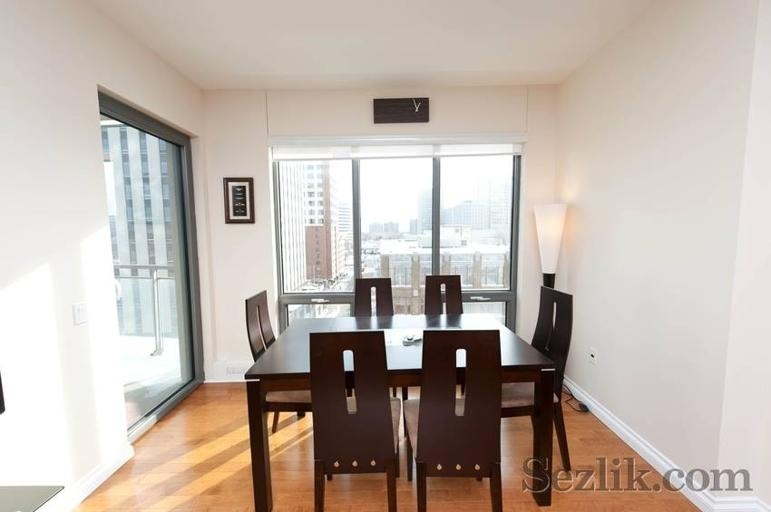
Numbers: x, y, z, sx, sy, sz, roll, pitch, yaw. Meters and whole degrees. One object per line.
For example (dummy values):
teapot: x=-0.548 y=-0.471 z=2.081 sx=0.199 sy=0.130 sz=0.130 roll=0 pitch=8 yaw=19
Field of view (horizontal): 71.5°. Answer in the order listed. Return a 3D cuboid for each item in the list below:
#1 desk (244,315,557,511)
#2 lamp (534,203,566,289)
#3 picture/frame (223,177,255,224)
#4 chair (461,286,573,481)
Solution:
desk: x=0.039 y=1.392 z=4.585 sx=1.852 sy=0.887 sz=1.711 roll=-1 pitch=4 yaw=-1
lamp: x=1.716 y=-0.094 z=5.593 sx=0.331 sy=0.891 sz=0.372 roll=1 pitch=3 yaw=16
picture/frame: x=-1.572 y=-0.581 z=5.788 sx=0.365 sy=0.526 sz=0.039 roll=1 pitch=5 yaw=12
chair: x=1.325 y=0.976 z=5.376 sx=1.263 sy=2.176 sz=1.225 roll=0 pitch=0 yaw=2
